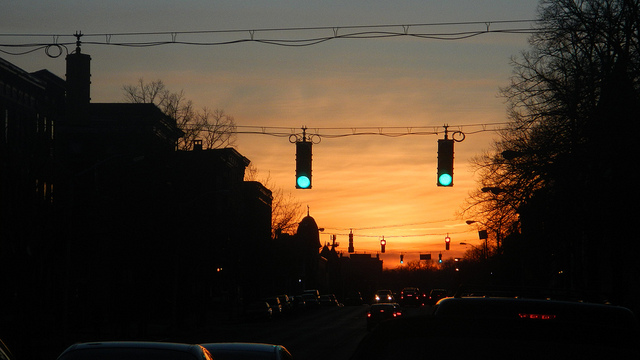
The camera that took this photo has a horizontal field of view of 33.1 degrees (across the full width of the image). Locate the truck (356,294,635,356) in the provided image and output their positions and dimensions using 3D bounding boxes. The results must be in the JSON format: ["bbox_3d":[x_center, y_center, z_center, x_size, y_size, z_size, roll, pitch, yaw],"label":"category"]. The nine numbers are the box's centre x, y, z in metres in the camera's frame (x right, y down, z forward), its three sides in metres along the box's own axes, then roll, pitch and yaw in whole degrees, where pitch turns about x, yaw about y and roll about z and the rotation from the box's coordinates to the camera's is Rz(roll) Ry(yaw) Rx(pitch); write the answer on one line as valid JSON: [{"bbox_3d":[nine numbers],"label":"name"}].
[{"bbox_3d":[10.799,8.318,60.876,8.943,2.021,5.858,2,-8,-1],"label":"truck"}]
